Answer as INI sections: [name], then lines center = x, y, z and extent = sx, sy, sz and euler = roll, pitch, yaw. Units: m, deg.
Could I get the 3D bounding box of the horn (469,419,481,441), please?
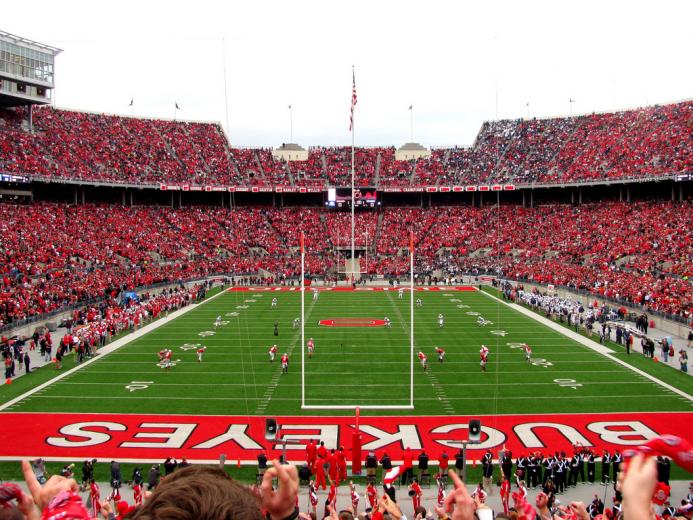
[horn]
center = 3.135, 4.150, 16.497
extent = 0.224, 0.404, 0.419
euler = 1, 10, 5

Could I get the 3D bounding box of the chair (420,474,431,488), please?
[chair]
center = 2.056, 5.768, 17.699
extent = 0.316, 0.425, 0.325
euler = 0, -4, -4
